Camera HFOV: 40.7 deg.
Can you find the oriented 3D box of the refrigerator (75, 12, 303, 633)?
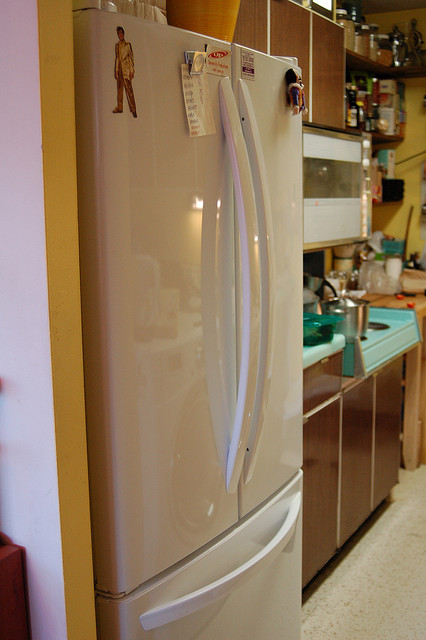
[{"bbox_3d":[0.017,0.171,1.167,0.169,1.429,0.665,4,9,30],"label":"refrigerator"}]

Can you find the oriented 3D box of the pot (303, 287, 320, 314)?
[{"bbox_3d":[0.370,-0.068,2.173,0.058,0.097,0.109,2,9,13],"label":"pot"}]
